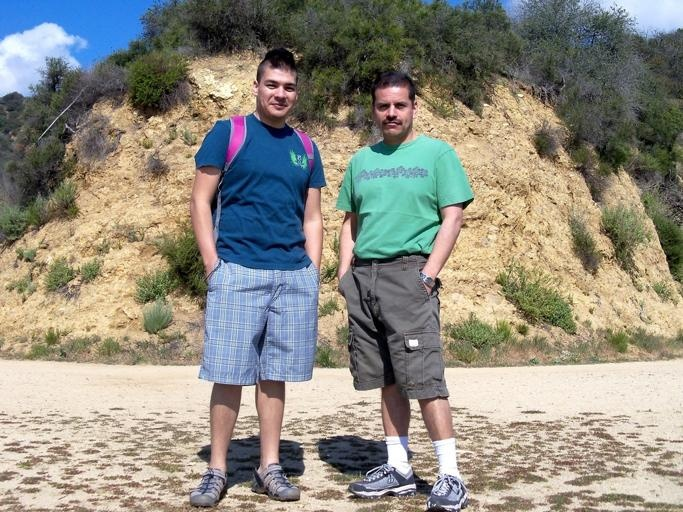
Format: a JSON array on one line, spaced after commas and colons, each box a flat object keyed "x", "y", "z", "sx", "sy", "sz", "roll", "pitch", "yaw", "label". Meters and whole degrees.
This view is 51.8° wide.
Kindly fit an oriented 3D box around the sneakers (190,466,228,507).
[{"x": -1.398, "y": 2.477, "z": 7.530, "sx": 0.188, "sy": 0.259, "sz": 0.527, "roll": 9, "pitch": 0, "yaw": 2, "label": "sneakers"}]
